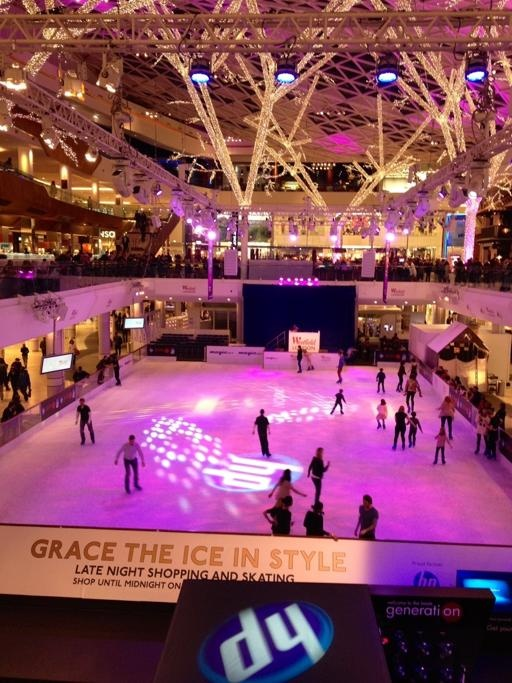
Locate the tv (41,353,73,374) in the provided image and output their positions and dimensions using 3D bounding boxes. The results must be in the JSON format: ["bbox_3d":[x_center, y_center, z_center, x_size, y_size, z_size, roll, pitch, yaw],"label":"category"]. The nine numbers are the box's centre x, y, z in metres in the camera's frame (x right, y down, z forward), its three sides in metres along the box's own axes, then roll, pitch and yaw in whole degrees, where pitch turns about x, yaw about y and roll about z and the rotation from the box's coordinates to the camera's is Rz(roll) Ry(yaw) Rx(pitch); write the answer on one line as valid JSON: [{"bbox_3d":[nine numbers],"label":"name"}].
[{"bbox_3d":[-6.680,0.732,16.747,0.367,0.594,1.362,3,8,18],"label":"tv"}]

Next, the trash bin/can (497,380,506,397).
[{"bbox_3d":[11.065,2.146,22.340,0.279,0.624,0.515,0,7,-4],"label":"trash bin/can"}]

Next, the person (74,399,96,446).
[{"bbox_3d":[-5.034,2.328,14.621,0.430,1.479,0.380,-6,21,-23],"label":"person"}]

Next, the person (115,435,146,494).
[{"bbox_3d":[-2.873,2.756,11.265,0.624,1.467,0.485,-1,20,-17],"label":"person"}]
